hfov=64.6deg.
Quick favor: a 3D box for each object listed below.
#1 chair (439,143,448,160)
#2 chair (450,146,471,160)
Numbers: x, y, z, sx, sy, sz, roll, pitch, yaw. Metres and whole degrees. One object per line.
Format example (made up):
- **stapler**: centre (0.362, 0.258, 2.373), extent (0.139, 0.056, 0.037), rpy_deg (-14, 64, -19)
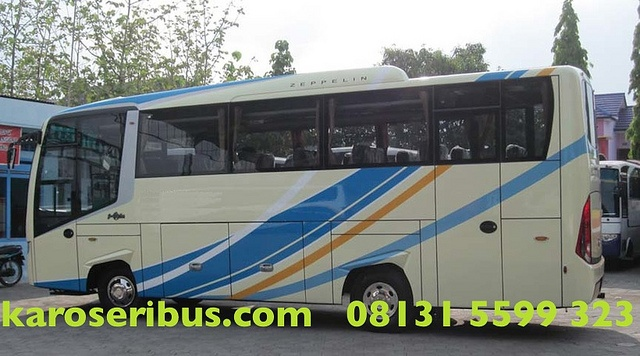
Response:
- **chair**: centre (2.784, -0.577, 11.471), extent (0.309, 0.281, 0.251), rpy_deg (0, -2, 12)
- **chair**: centre (3.145, -0.545, 11.314), extent (0.593, 0.307, 0.336), rpy_deg (4, 1, -27)
